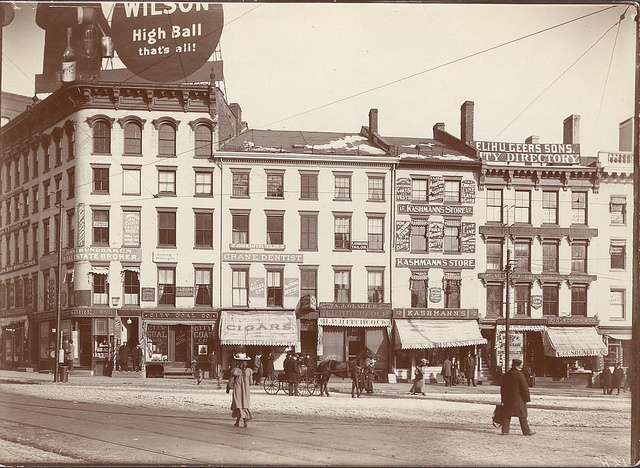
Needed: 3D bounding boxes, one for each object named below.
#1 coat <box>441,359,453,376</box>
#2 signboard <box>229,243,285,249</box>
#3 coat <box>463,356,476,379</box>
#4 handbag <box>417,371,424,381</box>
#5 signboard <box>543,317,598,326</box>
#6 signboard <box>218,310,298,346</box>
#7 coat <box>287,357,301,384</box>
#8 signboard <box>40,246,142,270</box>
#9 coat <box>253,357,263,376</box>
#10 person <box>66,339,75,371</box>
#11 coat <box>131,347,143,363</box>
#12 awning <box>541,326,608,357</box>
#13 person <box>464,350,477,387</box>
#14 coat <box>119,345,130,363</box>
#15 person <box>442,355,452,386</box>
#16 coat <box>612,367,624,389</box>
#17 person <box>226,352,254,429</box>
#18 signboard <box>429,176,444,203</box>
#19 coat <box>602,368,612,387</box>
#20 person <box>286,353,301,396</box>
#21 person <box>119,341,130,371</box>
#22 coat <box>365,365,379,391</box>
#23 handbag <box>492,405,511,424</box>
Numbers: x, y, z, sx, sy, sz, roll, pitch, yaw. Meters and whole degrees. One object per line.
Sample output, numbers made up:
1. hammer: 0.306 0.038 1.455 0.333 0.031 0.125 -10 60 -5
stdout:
1. coat: 6.275 6.544 60.606 0.533 0.759 0.449 -1 -11 -5
2. signboard: -3.017 0.603 59.634 2.628 0.273 0.249 -1 -11 -4
3. coat: 7.419 6.574 61.101 0.404 1.156 0.717 -9 -13 34
4. handbag: 4.675 6.554 57.205 0.139 0.430 0.365 -10 -14 38
5. signboard: 12.420 4.289 60.602 2.441 0.373 0.475 -1 2 26
6. signboard: -2.952 4.520 59.670 3.701 1.738 0.719 0 -11 -7
7. coat: -1.214 6.014 54.553 0.478 1.111 0.733 -5 -11 19
8. signboard: -11.018 1.005 59.086 5.298 0.839 0.889 -6 -12 22
9. coat: -2.947 6.234 58.626 0.420 0.721 0.788 -1 -11 -5
10. person: -11.902 5.697 58.893 0.383 1.529 1.623 0 -11 -11
11. coat: -8.655 5.760 58.499 0.839 0.873 0.506 1 0 0
12. awning: 12.420 5.143 60.620 3.036 1.179 2.246 -2 15 -22
13. person: 7.457 6.616 61.150 0.545 1.812 0.858 -5 -11 17
14. coat: -9.339 5.711 58.722 0.457 0.809 0.542 -2 -11 -1
15. person: 6.246 6.778 60.566 0.450 1.233 0.427 -4 -11 11
16. coat: 14.014 6.752 58.035 0.418 0.901 0.670 -1 -11 -4
17. person: -3.124 6.095 48.504 0.937 2.869 1.400 -1 -11 -4
18. signboard: 5.871 -2.190 62.020 0.740 1.480 0.747 -3 -11 8
19. coat: 13.635 6.768 58.397 0.413 0.861 0.267 -6 -11 22
20. person: -1.163 6.209 54.692 0.633 1.757 1.028 -1 -11 -1
21. person: -9.294 5.798 58.708 0.414 1.375 0.549 0 -11 -8
22. coat: 2.417 6.800 57.960 0.436 1.238 1.331 -3 -2 18
23. handbag: 7.084 7.004 47.917 0.623 0.823 0.454 21 33 26
